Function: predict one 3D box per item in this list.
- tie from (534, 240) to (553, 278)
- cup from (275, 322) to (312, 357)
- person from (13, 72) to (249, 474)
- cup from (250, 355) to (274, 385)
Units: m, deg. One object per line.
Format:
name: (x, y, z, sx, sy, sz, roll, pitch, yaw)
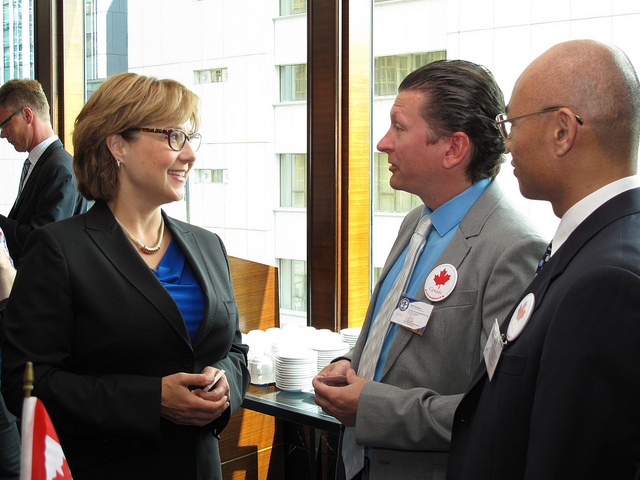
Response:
tie: (0.548, 0.048, 1.297, 0.057, 0.082, 0.025, 17, -36, -15)
cup: (-0.143, 0.549, 2.809, 0.188, 0.111, 0.468, -1, 0, -5)
person: (-0.555, 0.109, 1.672, 0.745, 1.342, 0.444, -1, 1, -33)
cup: (-0.308, 0.698, 2.771, 0.136, 0.137, 0.144, 0, 0, 0)
